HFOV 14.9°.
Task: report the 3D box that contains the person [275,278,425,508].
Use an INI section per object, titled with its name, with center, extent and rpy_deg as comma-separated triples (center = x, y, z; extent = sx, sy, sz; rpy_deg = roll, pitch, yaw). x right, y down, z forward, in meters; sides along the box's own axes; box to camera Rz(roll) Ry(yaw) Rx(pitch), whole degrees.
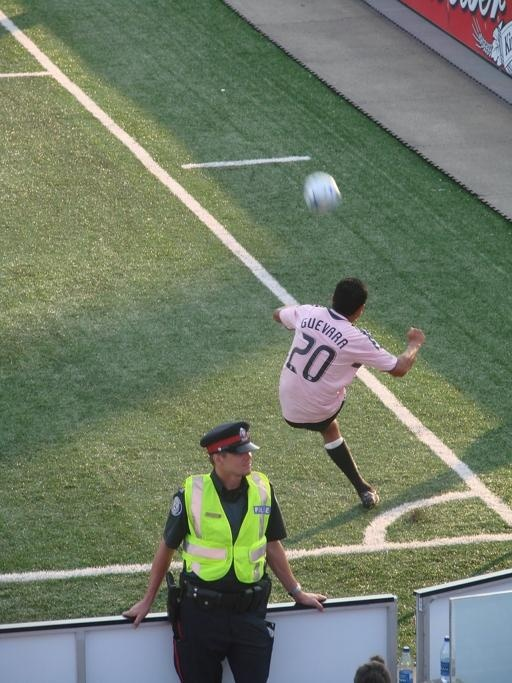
[person]
center = 0.569, 0.343, 13.157
extent = 0.971, 1.687, 0.834
rpy_deg = 17, 33, 20

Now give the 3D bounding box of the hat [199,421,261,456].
[hat]
center = -0.178, 0.583, 11.361
extent = 0.239, 0.123, 0.199
rpy_deg = -3, -3, 28

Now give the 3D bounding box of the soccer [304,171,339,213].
[soccer]
center = 0.527, -1.172, 15.560
extent = 0.217, 0.301, 0.315
rpy_deg = -22, 15, 0

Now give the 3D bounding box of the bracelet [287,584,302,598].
[bracelet]
center = 0.233, 1.476, 11.354
extent = 0.093, 0.064, 0.101
rpy_deg = -37, -2, 3

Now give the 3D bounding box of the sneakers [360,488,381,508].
[sneakers]
center = 0.774, 1.076, 13.116
extent = 0.077, 0.058, 0.141
rpy_deg = 9, 31, 13
